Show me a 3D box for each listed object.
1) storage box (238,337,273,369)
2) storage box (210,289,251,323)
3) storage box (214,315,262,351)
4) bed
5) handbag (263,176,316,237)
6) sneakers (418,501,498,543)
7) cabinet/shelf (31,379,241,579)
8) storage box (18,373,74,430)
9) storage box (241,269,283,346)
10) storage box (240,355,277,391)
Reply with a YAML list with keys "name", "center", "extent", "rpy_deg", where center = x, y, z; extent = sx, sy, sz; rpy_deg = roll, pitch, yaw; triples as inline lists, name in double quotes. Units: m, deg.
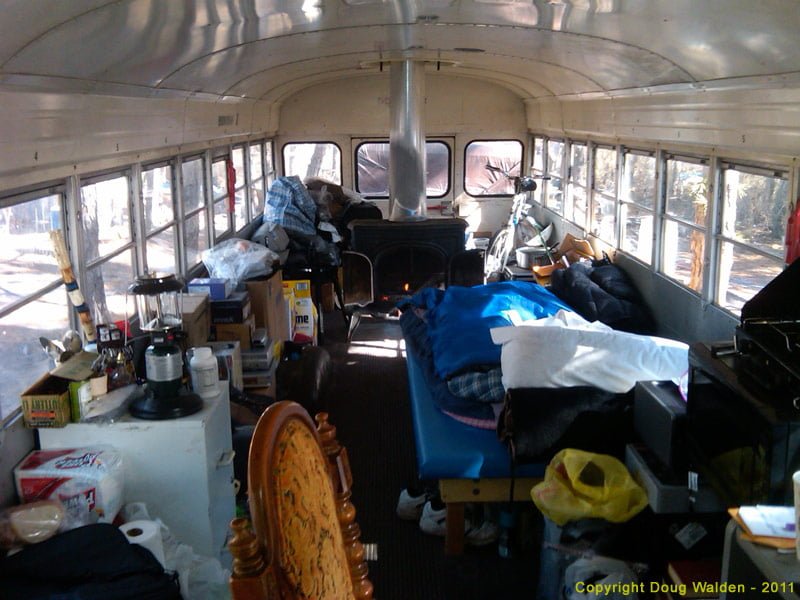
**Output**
- name: "storage box"
  center: [-1.114, 0.391, 4.704]
  extent: [0.186, 0.125, 0.260]
  rpy_deg: [-2, 21, -3]
- name: "storage box"
  center: [-1.347, 0.067, 4.791]
  extent: [0.203, 0.129, 0.268]
  rpy_deg: [0, 11, -1]
- name: "storage box"
  center: [-1.313, 0.254, 4.804]
  extent: [0.380, 0.262, 0.208]
  rpy_deg: [0, 6, 0]
- name: "bed"
  center: [0.838, 0.514, 4.455]
  extent: [1.632, 0.736, 2.722]
  rpy_deg: [0, 20, -3]
- name: "handbag"
  center: [-1.263, -1.141, 7.040]
  extent: [0.574, 0.713, 0.264]
  rpy_deg: [9, -17, -20]
- name: "sneakers"
  center: [0.357, 1.307, 3.613]
  extent: [0.486, 0.224, 0.189]
  rpy_deg: [8, -3, -1]
- name: "cabinet/shelf"
  center: [-1.155, 0.796, 3.317]
  extent: [0.848, 1.019, 1.069]
  rpy_deg: [1, 15, 8]
- name: "storage box"
  center: [-1.643, 0.503, 2.794]
  extent: [0.187, 0.109, 0.187]
  rpy_deg: [4, 1, -37]
- name: "storage box"
  center: [-1.191, 0.070, 5.163]
  extent: [0.279, 0.524, 0.559]
  rpy_deg: [-3, 15, 1]
- name: "storage box"
  center: [-1.113, 0.545, 4.730]
  extent: [0.203, 0.182, 0.281]
  rpy_deg: [0, 10, 0]
